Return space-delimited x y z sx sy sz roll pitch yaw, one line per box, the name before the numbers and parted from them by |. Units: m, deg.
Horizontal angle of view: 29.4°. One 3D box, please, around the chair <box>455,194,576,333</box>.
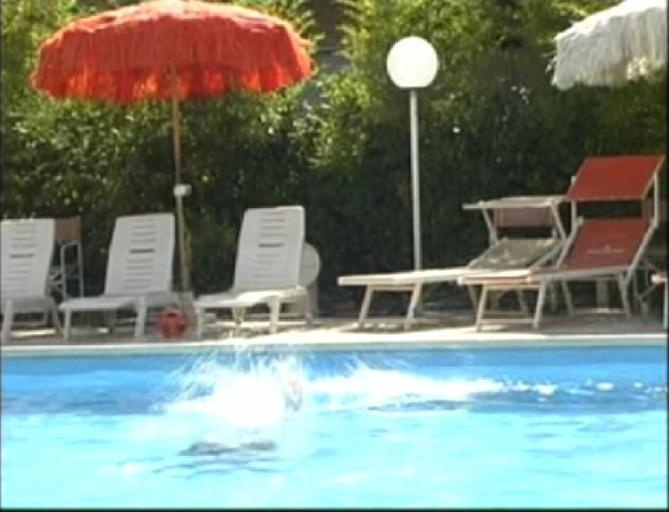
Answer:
chair | 1.732 -0.005 12.920 0.886 1.125 1.515 -1 9 24
